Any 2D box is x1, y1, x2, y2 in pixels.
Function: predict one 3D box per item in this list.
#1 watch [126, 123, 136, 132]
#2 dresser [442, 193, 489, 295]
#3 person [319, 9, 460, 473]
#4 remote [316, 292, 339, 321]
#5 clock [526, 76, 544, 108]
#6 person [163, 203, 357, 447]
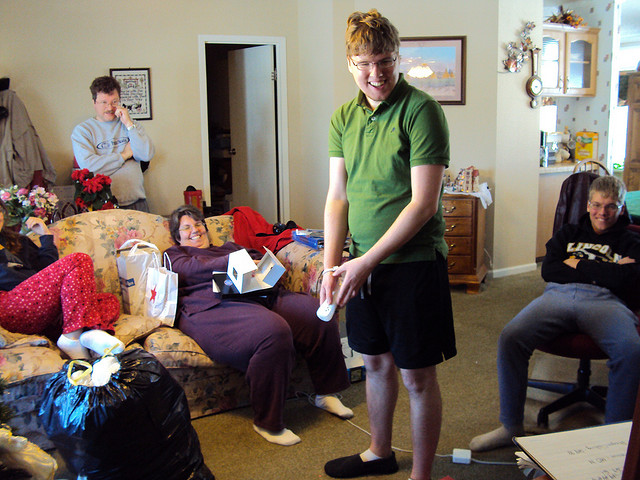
[{"bbox_3d":[-1.505,-0.892,3.954,0.058,0.043,0.058,-45,19,-17],"label":"watch"},{"bbox_3d":[1.264,-0.069,4.751,0.774,0.979,0.627,3,9,20],"label":"dresser"},{"bbox_3d":[0.230,0.119,1.933,0.539,1.895,0.458,-4,13,3],"label":"person"},{"bbox_3d":[0.034,0.259,1.863,0.058,0.121,0.029,13,-18,30],"label":"remote"},{"bbox_3d":[2.063,-1.426,4.764,0.190,0.292,0.053,-13,16,-32],"label":"clock"},{"bbox_3d":[-0.376,0.381,2.849,0.909,1.339,0.770,-11,-4,40],"label":"person"}]
